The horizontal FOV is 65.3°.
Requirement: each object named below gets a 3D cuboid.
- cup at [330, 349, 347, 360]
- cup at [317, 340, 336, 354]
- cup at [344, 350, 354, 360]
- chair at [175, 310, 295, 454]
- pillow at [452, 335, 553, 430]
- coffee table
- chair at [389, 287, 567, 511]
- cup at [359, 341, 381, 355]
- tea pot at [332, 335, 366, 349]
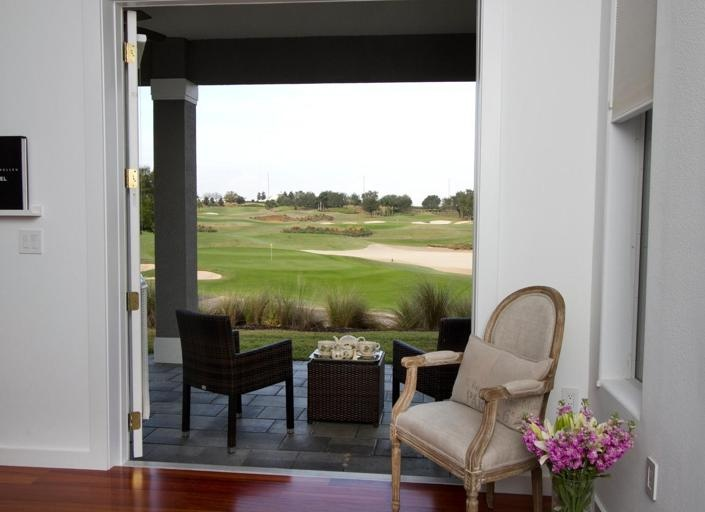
[{"bbox_3d":[-0.103,0.778,4.354,0.063,0.063,0.089,3,2,-14],"label":"cup"},{"bbox_3d":[-0.203,0.733,4.428,0.115,0.085,0.098,2,-1,-14],"label":"cup"},{"bbox_3d":[-0.023,0.775,4.338,0.078,0.066,0.054,0,5,-7],"label":"cup"},{"bbox_3d":[-0.911,0.882,4.293,0.751,0.999,0.756,-3,6,-40],"label":"chair"},{"bbox_3d":[0.806,0.679,2.923,0.182,0.369,0.478,1,5,-34],"label":"pillow"},{"bbox_3d":[-0.037,1.019,4.502,0.532,0.580,0.557,1,-2,5],"label":"coffee table"},{"bbox_3d":[0.705,0.820,3.022,0.805,1.275,0.682,-3,6,-31],"label":"chair"},{"bbox_3d":[0.127,0.729,4.401,0.117,0.088,0.103,1,-1,2],"label":"cup"},{"bbox_3d":[-0.016,0.689,4.429,0.181,0.112,0.134,2,-4,-5],"label":"tea pot"}]
